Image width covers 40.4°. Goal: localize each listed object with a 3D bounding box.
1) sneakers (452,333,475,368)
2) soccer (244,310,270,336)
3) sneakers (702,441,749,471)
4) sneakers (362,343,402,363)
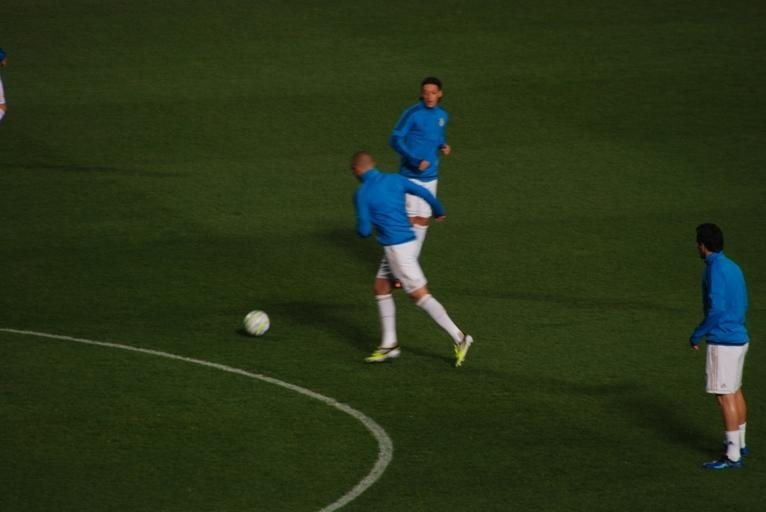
[{"bbox_3d":[1.128,1.316,14.342,0.199,0.507,0.215,2,43,-33],"label":"sneakers"},{"bbox_3d":[-1.823,0.986,15.079,0.357,0.350,0.180,6,5,-20],"label":"soccer"},{"bbox_3d":[4.168,2.419,12.357,0.687,0.230,0.207,1,3,5],"label":"sneakers"},{"bbox_3d":[0.013,1.372,14.490,0.581,0.220,0.190,-14,21,0],"label":"sneakers"}]
